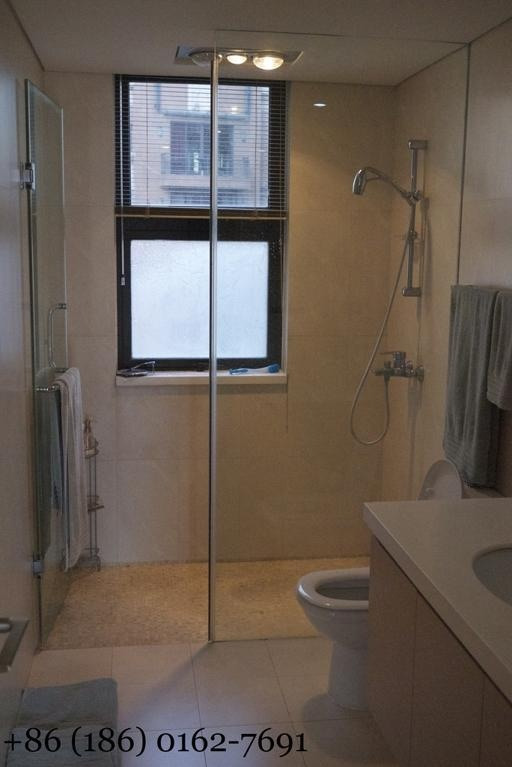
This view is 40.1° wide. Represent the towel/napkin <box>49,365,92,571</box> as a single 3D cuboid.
[{"bbox_3d":[-0.733,0.342,2.794,0.105,0.768,0.337,-1,6,-13],"label":"towel/napkin"}]

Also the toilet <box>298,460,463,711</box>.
[{"bbox_3d":[0.373,0.659,2.277,0.395,0.824,0.319,0,16,1],"label":"toilet"}]
